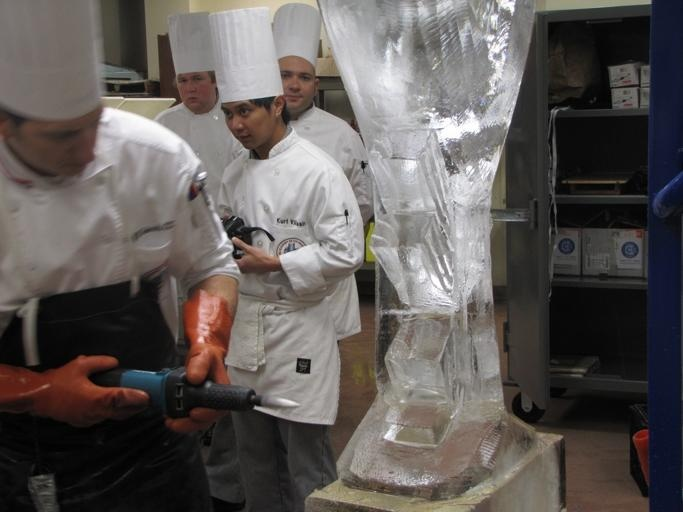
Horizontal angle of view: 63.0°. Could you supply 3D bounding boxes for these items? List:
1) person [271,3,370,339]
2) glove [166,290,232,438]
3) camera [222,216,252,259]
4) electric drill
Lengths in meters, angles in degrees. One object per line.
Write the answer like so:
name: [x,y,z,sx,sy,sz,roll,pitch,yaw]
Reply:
person: [-0.202,-0.292,3.487,0.501,2.316,0.617,13,16,25]
glove: [-0.302,0.177,1.208,0.118,0.380,0.098,13,-43,-40]
camera: [-0.366,-0.084,2.230,0.175,0.137,0.193,5,13,-8]
electric drill: [-0.301,0.259,1.063,0.422,0.108,0.088,1,-3,25]
